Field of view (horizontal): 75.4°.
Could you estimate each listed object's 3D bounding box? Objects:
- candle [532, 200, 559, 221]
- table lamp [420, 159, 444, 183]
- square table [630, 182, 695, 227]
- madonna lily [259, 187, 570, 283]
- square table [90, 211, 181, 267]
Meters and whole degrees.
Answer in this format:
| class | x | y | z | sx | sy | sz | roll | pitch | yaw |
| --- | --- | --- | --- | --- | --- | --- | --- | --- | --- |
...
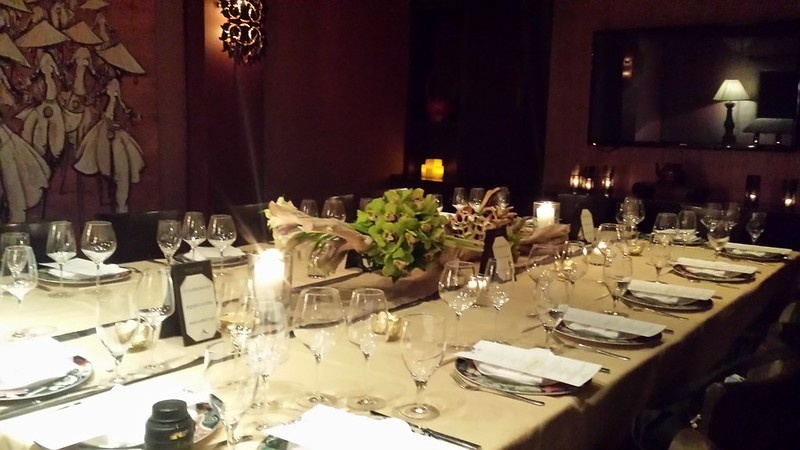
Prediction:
| class | x | y | z | sx | sy | sz | roll | pitch | yaw |
| --- | --- | --- | --- | --- | --- | --- | --- | --- | --- |
| candle | 1.018 | -0.102 | 3.601 | 0.179 | 0.119 | 0.171 | 0 | 8 | 5 |
| table lamp | 0.451 | -0.759 | 6.960 | 0.336 | 0.310 | 0.305 | 6 | 13 | 20 |
| square table | 2.493 | -0.204 | 4.885 | 0.454 | 0.504 | 0.434 | -17 | 23 | -40 |
| madonna lily | 0.089 | 0.155 | 2.816 | 1.468 | 0.553 | 0.554 | -2 | -13 | 4 |
| square table | -1.749 | 0.048 | 3.554 | 0.414 | 0.471 | 0.416 | 5 | 5 | 37 |
